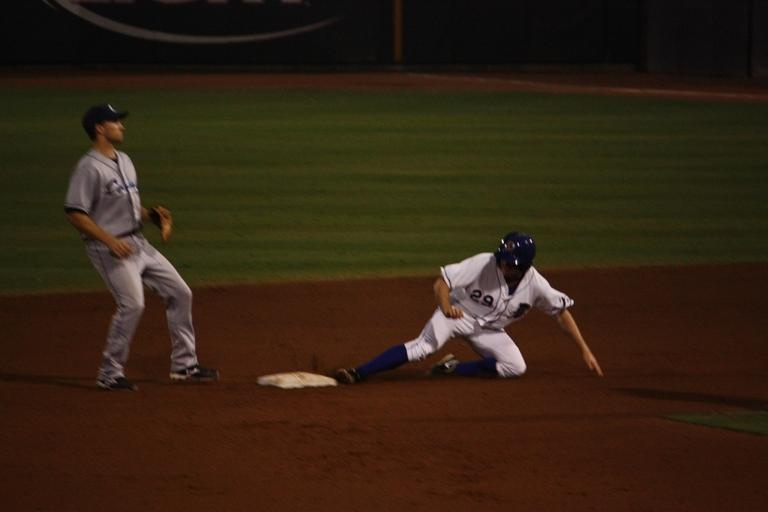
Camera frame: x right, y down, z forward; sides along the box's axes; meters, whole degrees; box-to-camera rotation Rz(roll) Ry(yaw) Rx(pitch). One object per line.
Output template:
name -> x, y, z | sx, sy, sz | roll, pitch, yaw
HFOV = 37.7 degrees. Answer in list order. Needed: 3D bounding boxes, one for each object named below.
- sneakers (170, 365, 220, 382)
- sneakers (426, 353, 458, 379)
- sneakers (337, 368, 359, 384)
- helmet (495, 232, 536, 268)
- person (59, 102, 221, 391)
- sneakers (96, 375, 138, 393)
sneakers -> -1.865, 1.165, 11.110 | 0.392, 0.108, 0.189 | 0, 3, 1
sneakers -> 0.543, 1.122, 11.393 | 0.349, 0.124, 0.137 | -23, 26, 8
sneakers -> -0.365, 1.191, 11.015 | 0.256, 0.101, 0.158 | 7, 13, 6
helmet -> 1.274, -0.113, 10.869 | 0.321, 0.212, 0.406 | 14, 37, 40
person -> -2.440, -0.072, 10.816 | 1.154, 2.717, 0.641 | -2, 13, -13
sneakers -> -2.573, 1.235, 10.847 | 0.471, 0.155, 0.137 | 1, 20, 1
